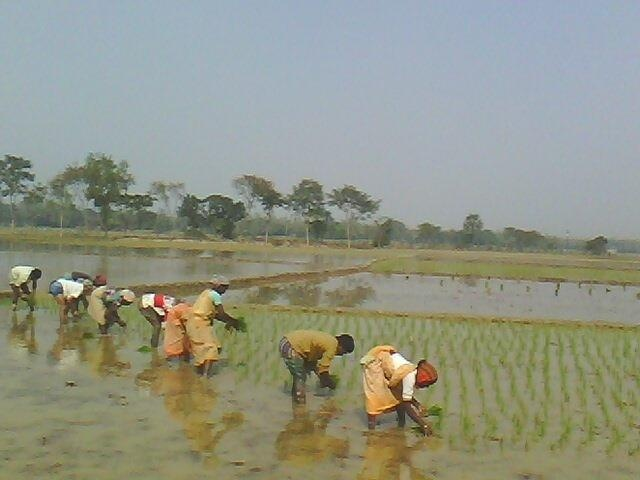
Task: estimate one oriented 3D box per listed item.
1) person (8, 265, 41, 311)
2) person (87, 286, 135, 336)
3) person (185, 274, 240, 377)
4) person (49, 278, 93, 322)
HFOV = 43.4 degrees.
[{"bbox_3d":[-8.827,1.425,23.974,0.819,1.294,0.892,0,6,-16],"label":"person"},{"bbox_3d":[-5.635,1.866,21.439,1.222,1.257,0.554,2,6,0],"label":"person"},{"bbox_3d":[-2.641,2.006,19.318,0.883,2.283,0.902,7,7,42],"label":"person"},{"bbox_3d":[-6.864,1.679,22.511,1.172,1.065,0.799,6,0,9],"label":"person"}]
